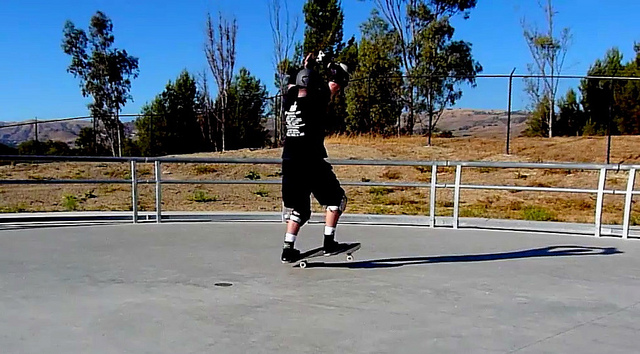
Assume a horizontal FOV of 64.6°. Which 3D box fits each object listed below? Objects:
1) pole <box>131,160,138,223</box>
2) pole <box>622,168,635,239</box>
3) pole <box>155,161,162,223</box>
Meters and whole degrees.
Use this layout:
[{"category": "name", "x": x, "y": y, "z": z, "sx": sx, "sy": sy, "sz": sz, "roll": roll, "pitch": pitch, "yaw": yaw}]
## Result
[{"category": "pole", "x": -4.324, "y": 0.344, "z": 11.808, "sx": 0.112, "sy": 1.461, "sz": 0.599, "roll": -2, "pitch": 2, "yaw": -20}, {"category": "pole", "x": 6.595, "y": 0.572, "z": 10.852, "sx": 0.209, "sy": 1.521, "sz": 0.632, "roll": 0, "pitch": 3, "yaw": 32}, {"category": "pole", "x": -3.787, "y": 0.358, "z": 11.838, "sx": 0.125, "sy": 1.434, "sz": 0.587, "roll": -2, "pitch": 2, "yaw": -18}]
